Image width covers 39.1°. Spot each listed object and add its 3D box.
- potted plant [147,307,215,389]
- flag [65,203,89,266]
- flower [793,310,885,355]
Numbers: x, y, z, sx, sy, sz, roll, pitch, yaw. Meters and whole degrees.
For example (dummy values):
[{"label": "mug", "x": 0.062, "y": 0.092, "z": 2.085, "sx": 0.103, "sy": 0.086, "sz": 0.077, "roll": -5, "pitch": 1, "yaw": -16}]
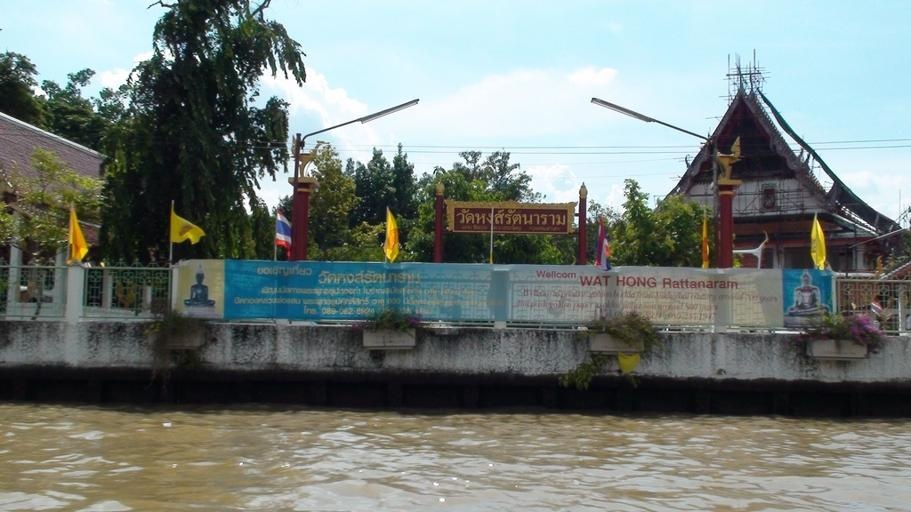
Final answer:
[{"label": "potted plant", "x": -10.588, "y": 3.500, "z": 49.965, "sx": 1.829, "sy": 3.078, "sz": 2.062, "roll": 1, "pitch": 0, "yaw": -25}, {"label": "flag", "x": -14.702, "y": -0.805, "z": 50.414, "sx": 0.679, "sy": 2.351, "sz": 1.310, "roll": 1, "pitch": -9, "yaw": -16}, {"label": "flower", "x": 14.763, "y": 2.941, "z": 49.166, "sx": 2.948, "sy": 1.488, "sz": 0.440, "roll": -1, "pitch": -9, "yaw": -3}]
